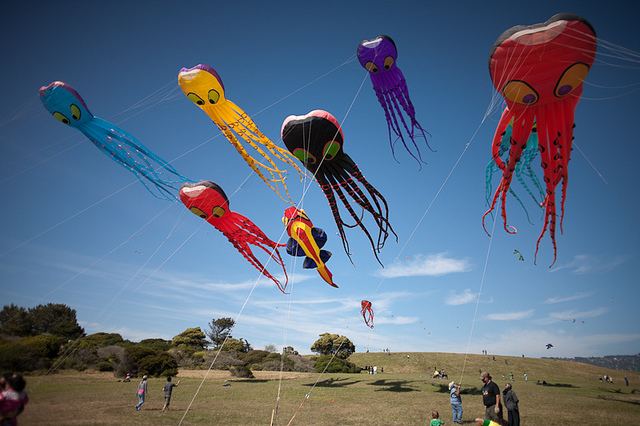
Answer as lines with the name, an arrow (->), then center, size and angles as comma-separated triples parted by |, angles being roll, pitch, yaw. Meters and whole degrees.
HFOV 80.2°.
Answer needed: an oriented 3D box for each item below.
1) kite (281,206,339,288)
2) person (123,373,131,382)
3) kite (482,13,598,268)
kite -> -0.865, 2.154, 25.495 | 2.489, 6.715, 1.765 | -32, 6, 2
person -> -13.762, 11.816, 27.272 | 0.261, 0.487, 2.145 | 18, -27, -17
kite -> 10.328, -4.857, 17.846 | 4.016, 6.465, 4.926 | -1, -28, 21
